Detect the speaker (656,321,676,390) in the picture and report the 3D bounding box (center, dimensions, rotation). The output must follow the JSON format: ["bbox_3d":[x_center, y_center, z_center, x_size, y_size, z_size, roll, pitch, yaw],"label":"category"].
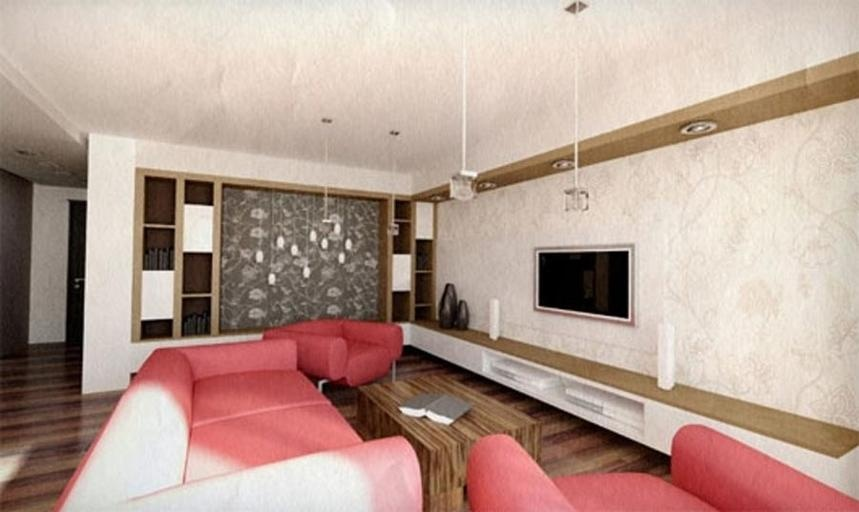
[{"bbox_3d":[0.965,0.365,2.247,0.071,0.274,0.063,36,-45,-13],"label":"speaker"}]

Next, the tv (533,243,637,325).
[{"bbox_3d":[0.705,0.121,2.586,0.023,0.356,0.650,-1,1,-30],"label":"tv"}]

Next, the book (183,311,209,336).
[{"bbox_3d":[-1.698,0.482,3.962,0.187,0.169,0.093,2,8,-14],"label":"book"}]

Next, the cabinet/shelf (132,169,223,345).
[{"bbox_3d":[-1.584,0.009,3.496,0.546,1.039,0.158,-1,-4,-2],"label":"cabinet/shelf"}]

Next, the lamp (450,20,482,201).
[{"bbox_3d":[0.124,-0.532,2.173,0.106,0.635,0.316,-1,-2,3],"label":"lamp"}]

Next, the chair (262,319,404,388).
[{"bbox_3d":[-0.690,0.667,3.818,0.556,0.382,0.721,-2,-3,32],"label":"chair"}]
